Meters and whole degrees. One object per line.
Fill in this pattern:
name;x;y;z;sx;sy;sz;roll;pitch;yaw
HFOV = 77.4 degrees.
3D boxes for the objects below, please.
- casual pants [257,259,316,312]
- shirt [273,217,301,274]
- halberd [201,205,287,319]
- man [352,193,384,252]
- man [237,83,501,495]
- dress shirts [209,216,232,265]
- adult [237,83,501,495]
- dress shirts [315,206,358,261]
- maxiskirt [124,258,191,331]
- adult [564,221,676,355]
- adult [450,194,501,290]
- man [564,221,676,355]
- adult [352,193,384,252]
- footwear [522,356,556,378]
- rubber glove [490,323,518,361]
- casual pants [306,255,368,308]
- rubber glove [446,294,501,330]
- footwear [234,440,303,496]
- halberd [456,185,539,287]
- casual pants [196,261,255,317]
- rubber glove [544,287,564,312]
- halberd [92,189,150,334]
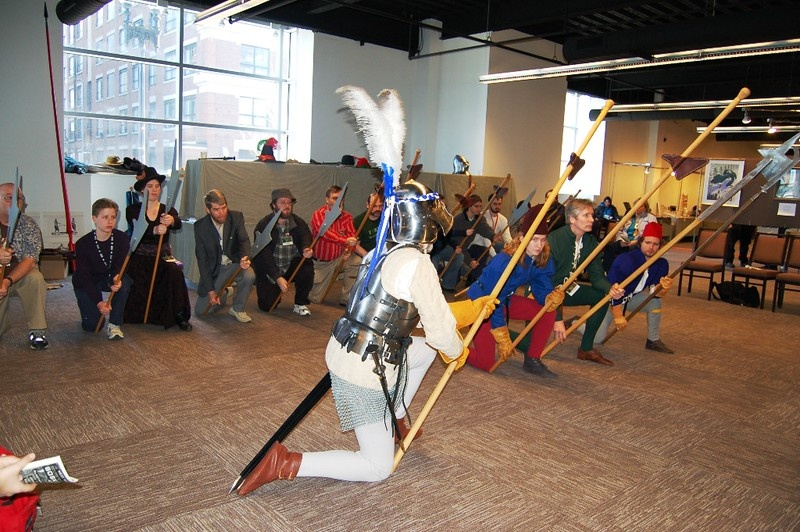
casual pants;-1.437;0.234;6.231;0.454;0.657;0.490;36;18;30
shirt;-1.412;-0.228;6.247;0.406;0.587;0.195;9;5;-23
halberd;-1.871;-0.010;5.983;0.229;1.637;0.075;35;-7;-23
man;-0.426;-0.547;6.532;0.290;0.767;0.551;15;12;18
man;-0.173;0.155;3.024;1.599;2.331;0.959;-7;17;-42
dress shirts;-2.102;-0.268;5.830;0.305;0.432;0.153;-3;-1;-10
adult;-0.111;0.160;3.010;1.589;2.311;0.903;-6;15;-42
dress shirts;-0.842;-0.404;6.491;0.507;0.660;0.368;17;9;-42
maxiskirt;-2.606;0.325;5.761;0.907;0.920;0.697;5;0;-25
adult;2.491;0.270;5.652;1.159;1.552;0.876;0;17;15
adult;1.215;-0.390;7.966;0.990;1.596;0.712;8;-14;7
man;2.459;0.282;5.617;1.083;1.534;0.958;0;16;16
adult;-0.416;-0.564;6.562;0.290;0.767;0.551;15;12;18
footwear;1.311;0.964;4.796;0.349;0.156;0.124;9;5;25
rubber glove;0.922;0.695;4.540;0.227;0.311;0.101;-3;6;2
casual pants;-0.772;0.166;5.814;0.615;0.614;0.189;7;8;-4
rubber glove;0.493;0.290;3.311;0.271;0.226;0.076;-32;24;-18
footwear;-0.771;1.283;3.099;0.539;0.219;0.171;-25;-32;22
halberd;1.557;-0.460;7.913;0.819;2.563;0.125;40;-23;-24
casual pants;-2.013;0.304;5.988;0.632;0.637;0.723;3;-31;-31
rubber glove;1.408;0.312;4.594;0.098;0.212;0.159;6;34;-23
halberd;-2.842;-0.024;5.095;0.529;1.510;0.538;-3;13;-30
